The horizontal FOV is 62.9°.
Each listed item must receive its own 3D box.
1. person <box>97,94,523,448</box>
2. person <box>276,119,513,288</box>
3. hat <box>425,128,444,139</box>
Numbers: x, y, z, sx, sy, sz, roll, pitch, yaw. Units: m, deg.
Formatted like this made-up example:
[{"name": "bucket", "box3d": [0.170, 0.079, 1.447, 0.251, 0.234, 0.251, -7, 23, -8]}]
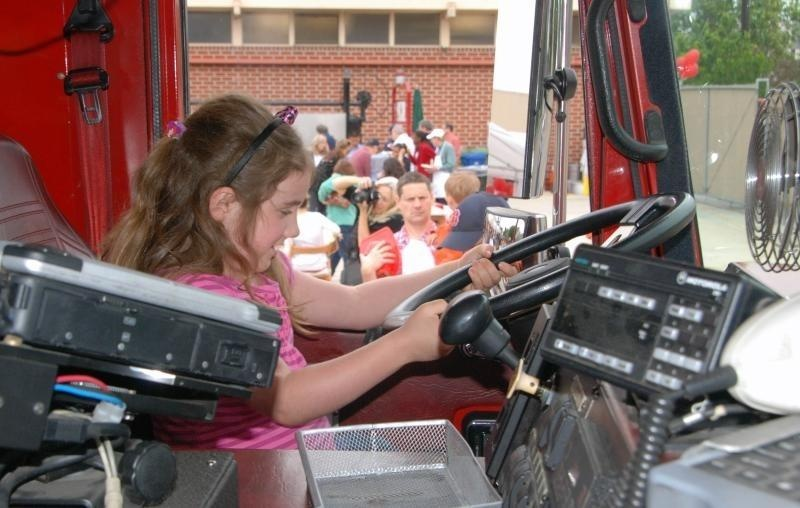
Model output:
[{"name": "person", "box3d": [-0.259, 0.040, 1.715, 0.951, 0.884, 0.814, -2, 11, -26]}, {"name": "person", "box3d": [0.054, -0.225, 3.792, 0.920, 0.838, 0.470, -3, -6, -25]}, {"name": "hat", "box3d": [0.316, -1.097, 5.977, 0.155, 0.078, 0.103, 0, 7, -10]}]
